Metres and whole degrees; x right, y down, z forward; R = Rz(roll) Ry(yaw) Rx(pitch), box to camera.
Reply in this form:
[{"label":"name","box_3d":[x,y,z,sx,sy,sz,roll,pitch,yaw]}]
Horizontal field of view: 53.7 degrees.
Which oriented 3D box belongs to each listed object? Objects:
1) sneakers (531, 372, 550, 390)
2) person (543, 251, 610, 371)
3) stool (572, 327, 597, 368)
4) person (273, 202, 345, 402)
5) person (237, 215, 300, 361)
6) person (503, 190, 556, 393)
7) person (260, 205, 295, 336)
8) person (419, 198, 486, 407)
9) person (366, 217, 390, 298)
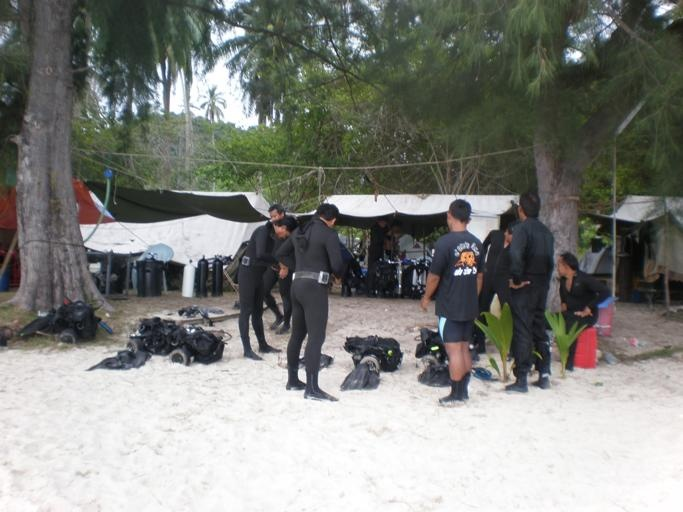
[{"label":"sneakers","box_3d":[2.622,1.601,8.756,0.123,0.276,0.252,0,2,-32]},{"label":"person","box_3d":[3.292,0.741,9.646,0.863,1.673,0.665,1,13,19]},{"label":"stool","box_3d":[3.529,1.322,9.729,0.419,0.664,0.612,0,-1,16]},{"label":"person","box_3d":[-0.352,0.544,8.223,0.888,2.342,0.519,9,14,37]},{"label":"person","box_3d":[-1.081,0.434,9.737,0.766,2.091,0.665,3,2,8]},{"label":"person","box_3d":[2.411,0.454,8.506,0.591,2.443,0.565,2,11,8]},{"label":"person","box_3d":[-0.997,0.265,11.024,0.653,2.228,0.677,-6,18,-20]},{"label":"person","box_3d":[1.354,0.542,8.088,0.643,2.403,0.629,3,11,10]},{"label":"person","box_3d":[0.862,-0.060,16.587,0.639,2.359,0.561,0,-27,7]}]
